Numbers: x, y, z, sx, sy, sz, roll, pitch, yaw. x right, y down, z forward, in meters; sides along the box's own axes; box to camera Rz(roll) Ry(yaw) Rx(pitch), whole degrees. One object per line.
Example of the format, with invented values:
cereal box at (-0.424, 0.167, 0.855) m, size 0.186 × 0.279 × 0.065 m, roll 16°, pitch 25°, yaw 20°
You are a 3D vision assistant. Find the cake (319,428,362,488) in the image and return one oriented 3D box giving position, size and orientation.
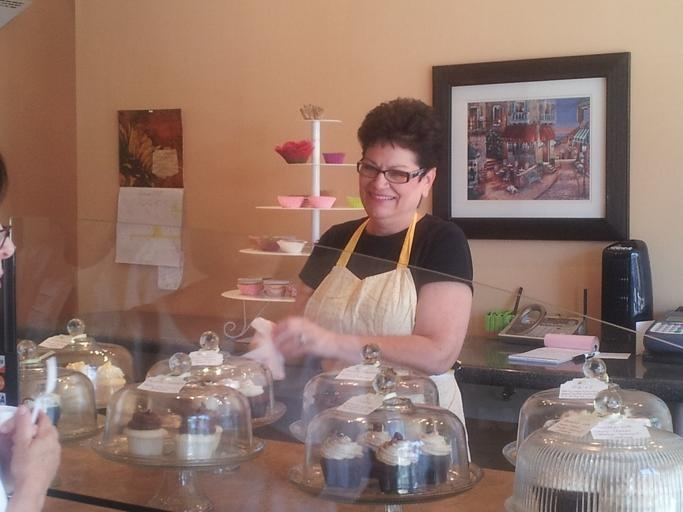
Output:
cake at (-0.003, 0.350, 1.090) m, size 0.079 × 0.088 × 0.074 m, roll -1°, pitch 0°, yaw 1°

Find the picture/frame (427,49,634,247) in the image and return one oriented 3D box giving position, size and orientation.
picture/frame at (0.816, -0.448, 2.553) m, size 0.860 × 0.802 × 0.066 m, roll 2°, pitch 2°, yaw 15°

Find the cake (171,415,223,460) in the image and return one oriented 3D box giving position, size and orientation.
cake at (-0.260, 0.323, 1.117) m, size 0.076 × 0.071 × 0.077 m, roll 4°, pitch -11°, yaw -19°

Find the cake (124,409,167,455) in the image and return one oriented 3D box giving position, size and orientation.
cake at (-0.357, 0.327, 1.188) m, size 0.084 × 0.085 × 0.073 m, roll 0°, pitch -2°, yaw 19°

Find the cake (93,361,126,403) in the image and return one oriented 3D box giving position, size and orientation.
cake at (-0.483, 0.263, 1.292) m, size 0.065 × 0.088 × 0.067 m, roll -10°, pitch -14°, yaw 27°

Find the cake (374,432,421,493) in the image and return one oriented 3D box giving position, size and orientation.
cake at (0.096, 0.343, 1.059) m, size 0.078 × 0.094 × 0.078 m, roll -2°, pitch 5°, yaw -1°

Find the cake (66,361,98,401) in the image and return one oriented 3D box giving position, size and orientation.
cake at (-0.532, 0.258, 1.290) m, size 0.061 × 0.064 × 0.063 m, roll 1°, pitch 0°, yaw -43°

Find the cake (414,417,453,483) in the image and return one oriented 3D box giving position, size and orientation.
cake at (0.158, 0.340, 1.078) m, size 0.062 × 0.103 × 0.069 m, roll 4°, pitch -20°, yaw -3°

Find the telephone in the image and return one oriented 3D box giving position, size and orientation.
telephone at (0.349, 0.118, 1.058) m, size 0.098 × 0.053 × 0.134 m, roll -13°, pitch 9°, yaw -40°
